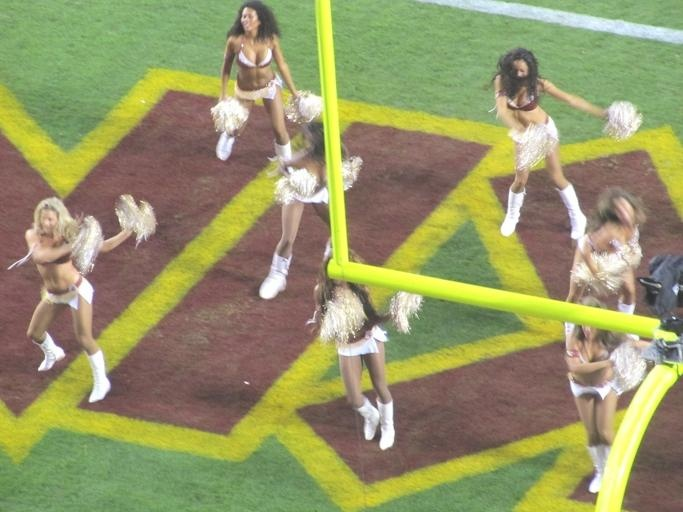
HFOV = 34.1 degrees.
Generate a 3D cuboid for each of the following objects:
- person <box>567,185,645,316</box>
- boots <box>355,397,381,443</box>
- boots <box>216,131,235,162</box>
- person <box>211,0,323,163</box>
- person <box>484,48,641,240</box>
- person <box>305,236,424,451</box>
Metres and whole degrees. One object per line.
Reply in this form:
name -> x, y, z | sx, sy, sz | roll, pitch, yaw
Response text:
person -> 1.928, -0.028, 8.071 | 0.594, 0.531, 0.863 | 8, 78, 14
boots -> 0.192, 1.250, 8.347 | 0.196, 0.086, 0.172 | 25, 79, -6
boots -> -1.002, -0.957, 9.754 | 0.160, 0.239, 0.085 | 13, 9, -3
person -> -0.692, -1.410, 9.372 | 0.966, 1.386, 0.645 | 26, 52, 14
person -> 1.633, -0.782, 8.285 | 1.189, 1.384, 0.954 | 0, 24, 26
person -> 0.147, 0.579, 7.973 | 0.717, 1.586, 0.938 | 5, 50, -4
